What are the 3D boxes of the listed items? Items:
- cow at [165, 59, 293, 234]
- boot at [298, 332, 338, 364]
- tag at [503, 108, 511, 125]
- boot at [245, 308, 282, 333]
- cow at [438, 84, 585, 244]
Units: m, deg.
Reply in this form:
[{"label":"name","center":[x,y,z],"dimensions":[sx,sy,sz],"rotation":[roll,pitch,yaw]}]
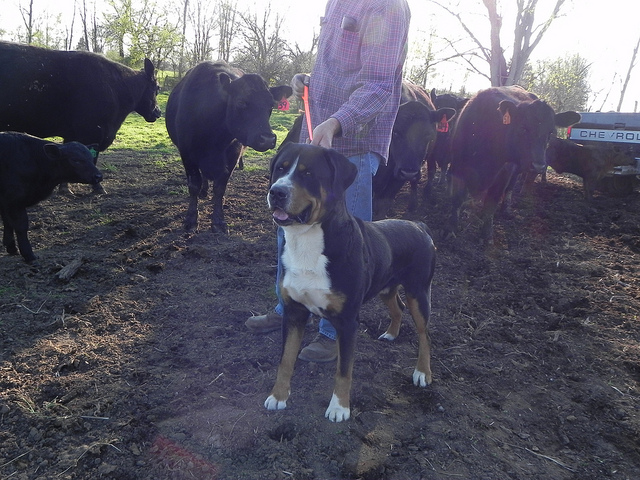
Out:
[{"label":"cow","center":[-1.770,-1.628,7.600],"dimensions":[1.381,2.729,2.959],"rotation":[-5,20,-35]},{"label":"boot","center":[-0.005,1.115,4.525],"dimensions":[0.176,0.197,0.408],"rotation":[1,-4,36]},{"label":"tag","center":[3.015,-1.984,7.195],"dimensions":[0.186,0.245,0.088],"rotation":[-7,19,-40]},{"label":"boot","center":[-0.598,0.877,4.837],"dimensions":[0.393,0.197,0.196],"rotation":[1,10,-7]},{"label":"cow","center":[3.195,-1.347,7.880],"dimensions":[1.730,2.655,2.181],"rotation":[14,17,28]}]
